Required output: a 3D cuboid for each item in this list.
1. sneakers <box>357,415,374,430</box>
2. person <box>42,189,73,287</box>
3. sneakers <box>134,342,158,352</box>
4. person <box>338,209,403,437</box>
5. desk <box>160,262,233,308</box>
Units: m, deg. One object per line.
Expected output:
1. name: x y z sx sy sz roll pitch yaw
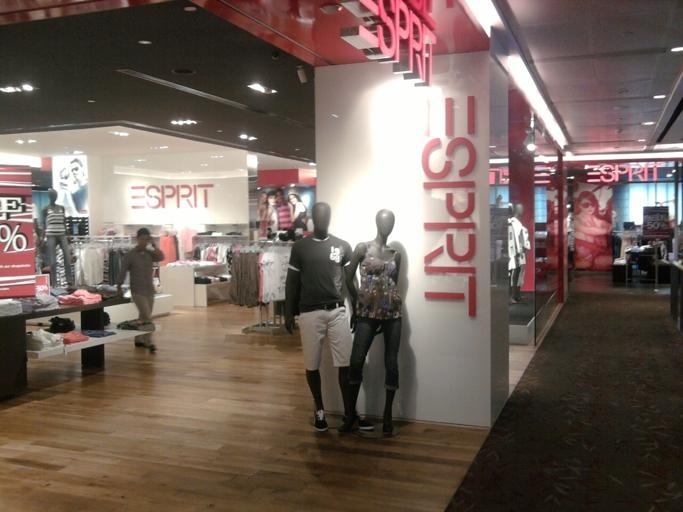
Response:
1. sneakers: 0.205 1.462 4.234 0.098 0.105 0.132 4 1 -18
2. person: -5.942 -0.250 10.134 0.624 1.666 0.331 -2 2 -9
3. sneakers: -3.051 1.407 7.509 0.344 0.150 0.116 11 4 25
4. person: 0.256 0.547 4.241 0.537 1.907 0.358 -1 2 8
5. desk: -3.652 0.632 11.871 1.322 0.784 1.487 0 1 13
